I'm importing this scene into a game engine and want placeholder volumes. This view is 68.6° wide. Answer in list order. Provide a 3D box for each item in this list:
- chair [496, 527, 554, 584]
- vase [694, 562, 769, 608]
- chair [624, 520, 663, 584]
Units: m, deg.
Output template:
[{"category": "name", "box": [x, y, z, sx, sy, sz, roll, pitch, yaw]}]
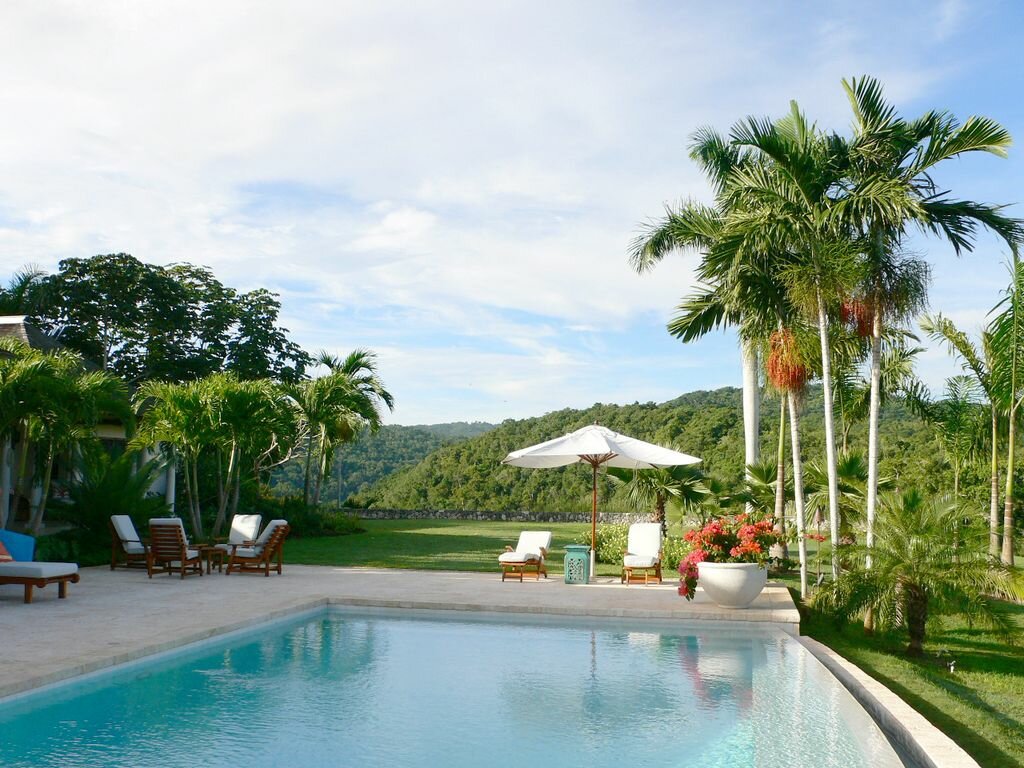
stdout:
[{"category": "chair", "box": [0.276, 3.582, 15.546, 0.825, 1.020, 1.196, -6, -10, 25]}, {"category": "vase", "box": [3.469, 3.157, 11.982, 0.767, 0.511, 0.795, -10, -13, 41]}, {"category": "chair", "box": [2.616, 3.420, 15.101, 0.741, 1.170, 1.091, -1, -6, 20]}]
